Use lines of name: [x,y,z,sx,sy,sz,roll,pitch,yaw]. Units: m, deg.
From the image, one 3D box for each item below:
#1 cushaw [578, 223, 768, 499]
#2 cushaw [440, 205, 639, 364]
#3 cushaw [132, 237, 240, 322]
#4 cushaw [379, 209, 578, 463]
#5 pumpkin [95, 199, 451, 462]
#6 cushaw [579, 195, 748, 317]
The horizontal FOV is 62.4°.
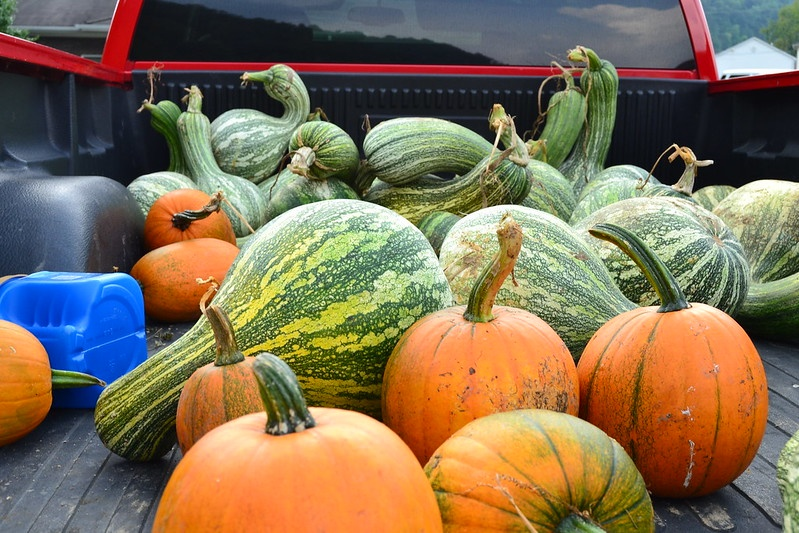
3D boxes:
cushaw: [1.099,0.349,2.678,0.671,1.064,0.694,-11,7,-25]
cushaw: [0.553,-0.001,3.176,1.027,0.537,0.551,25,55,30]
cushaw: [-1.151,0.083,3.499,0.449,0.274,0.271,-18,34,-27]
cushaw: [0.340,0.413,2.664,0.779,1.147,0.785,-2,9,5]
pumpkin: [-0.549,0.289,2.896,1.364,0.849,0.824,-24,26,-14]
cushaw: [1.368,-0.084,3.387,0.761,0.454,0.646,19,28,21]
